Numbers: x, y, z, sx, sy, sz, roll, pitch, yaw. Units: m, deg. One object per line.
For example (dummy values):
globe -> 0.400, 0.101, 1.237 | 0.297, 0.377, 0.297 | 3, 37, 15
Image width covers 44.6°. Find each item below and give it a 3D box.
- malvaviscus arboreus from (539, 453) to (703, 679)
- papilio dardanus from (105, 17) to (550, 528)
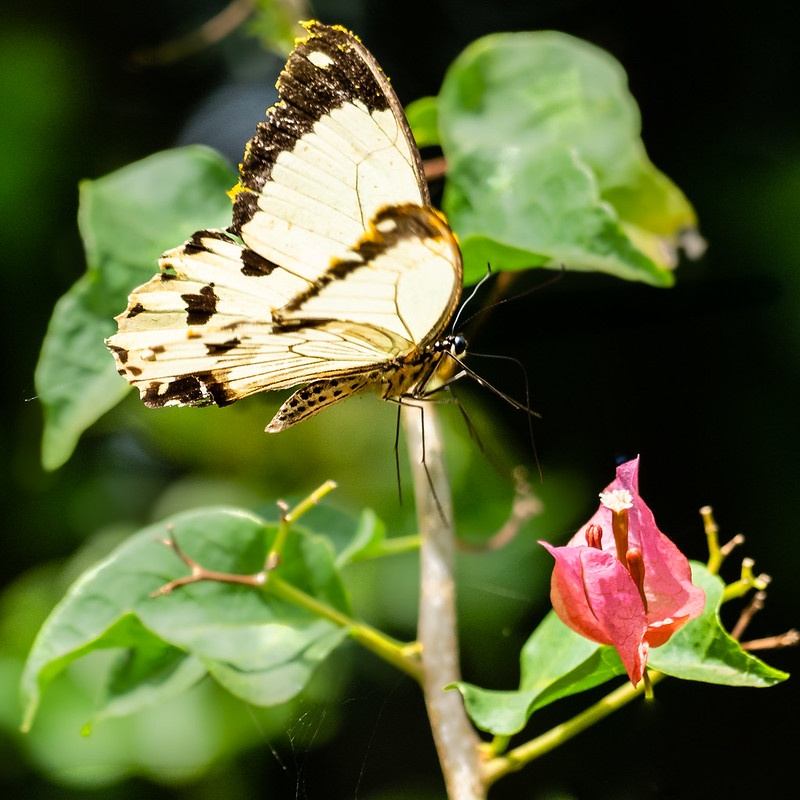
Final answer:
malvaviscus arboreus -> 0.208, 0.154, 0.953 | 0.202, 0.127, 0.200 | -5, 12, 24
papilio dardanus -> -0.136, -0.119, 1.063 | 0.453, 0.463, 0.357 | -9, 80, -13
